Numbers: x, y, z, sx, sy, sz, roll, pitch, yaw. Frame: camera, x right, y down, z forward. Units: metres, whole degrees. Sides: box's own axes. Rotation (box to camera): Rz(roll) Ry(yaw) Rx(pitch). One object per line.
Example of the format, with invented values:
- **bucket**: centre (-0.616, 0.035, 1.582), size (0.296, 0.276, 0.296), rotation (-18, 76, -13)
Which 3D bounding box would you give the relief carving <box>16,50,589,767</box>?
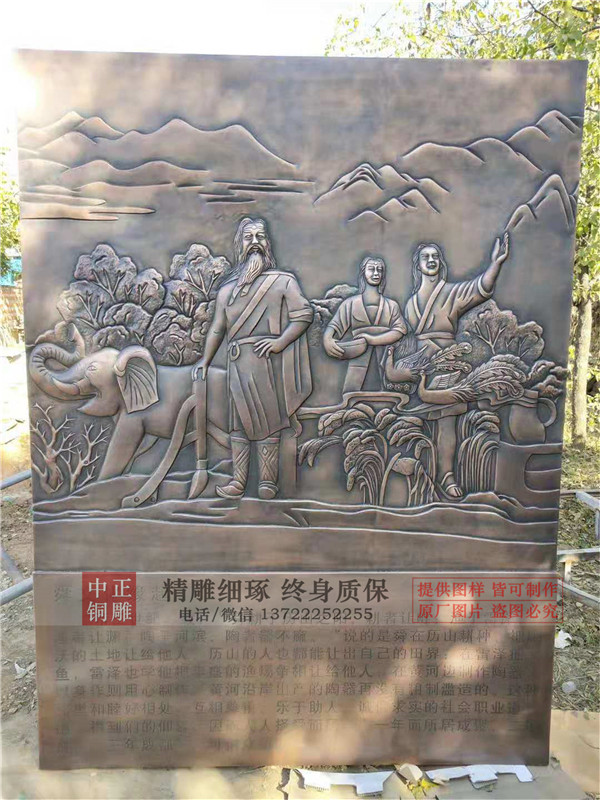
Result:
- **relief carving**: centre (-0.026, 0.108, 8.239), size (3.433, 4.531, 0.642), rotation (0, -3, -2)
